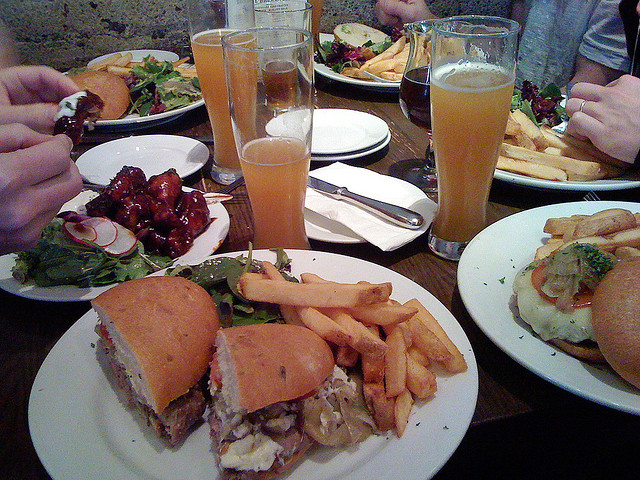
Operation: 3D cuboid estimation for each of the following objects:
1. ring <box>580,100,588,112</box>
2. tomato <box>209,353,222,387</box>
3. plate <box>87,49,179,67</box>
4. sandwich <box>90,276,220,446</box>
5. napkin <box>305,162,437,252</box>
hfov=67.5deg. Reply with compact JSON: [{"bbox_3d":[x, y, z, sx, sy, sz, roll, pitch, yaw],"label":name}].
[{"bbox_3d":[1.134,-0.582,2.059,0.011,0.045,0.046,22,14,15],"label":"ring"},{"bbox_3d":[-0.265,0.335,1.211,0.039,0.015,0.064,-8,67,1],"label":"tomato"},{"bbox_3d":[-1.228,-1.257,3.242,0.384,0.054,0.372,-15,38,-31],"label":"plate"},{"bbox_3d":[-0.437,0.290,1.330,0.282,0.244,0.419,-17,53,-37],"label":"sandwich"},{"bbox_3d":[0.197,-0.148,1.739,0.295,0.082,0.394,-28,39,-36],"label":"napkin"}]
